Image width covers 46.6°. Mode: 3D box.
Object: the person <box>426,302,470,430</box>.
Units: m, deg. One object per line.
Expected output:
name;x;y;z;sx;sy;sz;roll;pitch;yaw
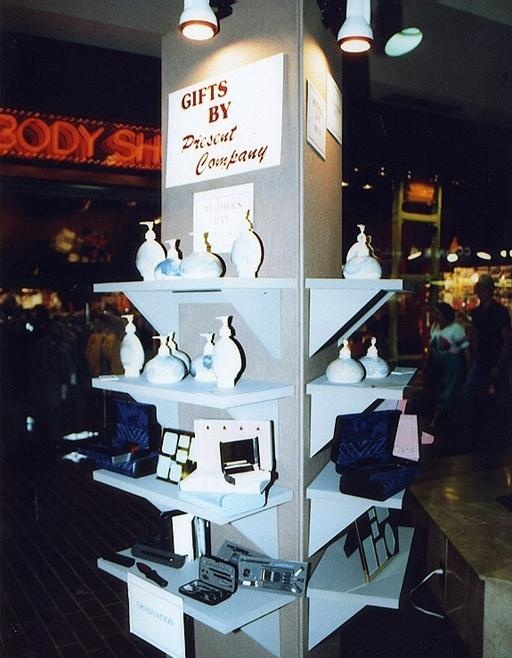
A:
person;1.552;0.338;4.878;0.251;1.148;0.505;-3;9;-4

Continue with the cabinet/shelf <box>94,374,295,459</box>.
cabinet/shelf;-0.246;0.307;2.145;0.729;0.305;0.400;4;12;36

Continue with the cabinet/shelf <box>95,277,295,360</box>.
cabinet/shelf;-0.209;-0.036;2.081;0.738;0.315;0.425;7;13;44

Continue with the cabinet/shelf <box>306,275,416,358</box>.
cabinet/shelf;0.355;-0.056;2.205;0.318;0.307;0.582;-2;10;7

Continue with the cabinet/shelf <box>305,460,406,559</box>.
cabinet/shelf;0.361;0.630;2.119;0.383;0.371;0.270;1;4;40

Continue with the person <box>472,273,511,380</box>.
person;1.780;0.034;4.500;0.266;0.868;0.310;-1;9;10

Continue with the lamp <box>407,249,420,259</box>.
lamp;1.419;-0.661;5.334;0.119;0.092;0.027;-6;10;-16
